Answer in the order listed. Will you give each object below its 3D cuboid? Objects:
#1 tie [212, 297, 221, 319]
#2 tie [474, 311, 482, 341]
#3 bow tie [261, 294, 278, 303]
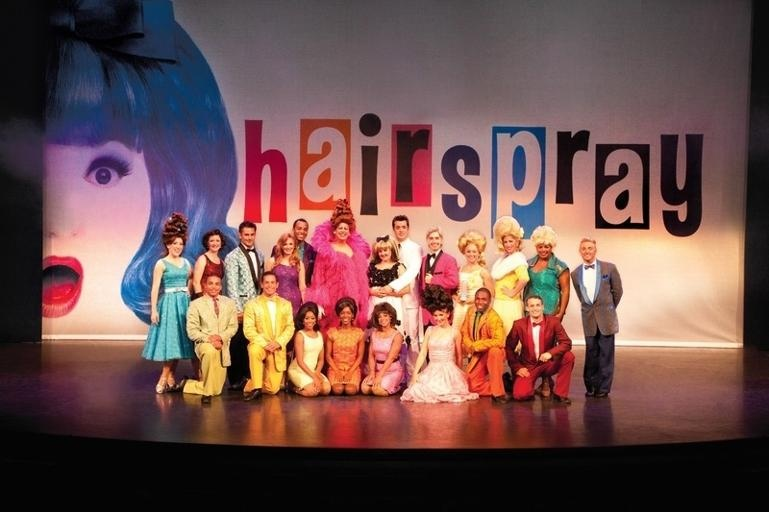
[{"bbox_3d":[-1.758,0.543,6.603,0.100,0.189,0.041,-9,-4,34],"label":"tie"},{"bbox_3d":[0.997,0.732,6.684,0.067,0.286,0.048,0,-1,27],"label":"tie"},{"bbox_3d":[-1.209,0.444,6.641,0.166,0.073,0.084,2,-1,-14],"label":"bow tie"}]
